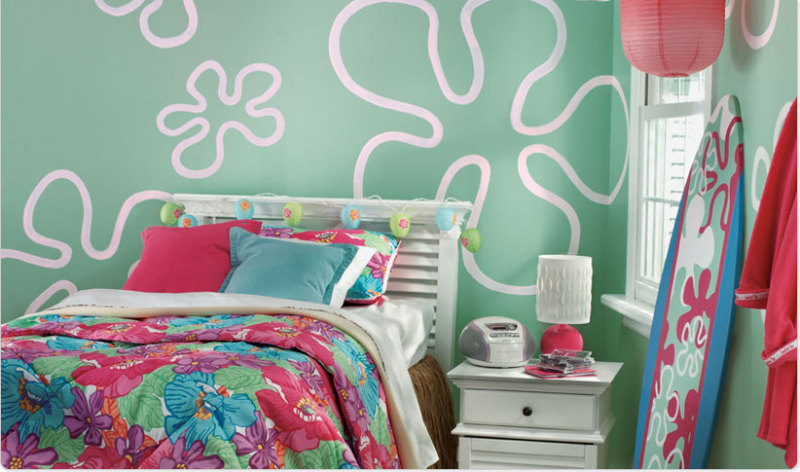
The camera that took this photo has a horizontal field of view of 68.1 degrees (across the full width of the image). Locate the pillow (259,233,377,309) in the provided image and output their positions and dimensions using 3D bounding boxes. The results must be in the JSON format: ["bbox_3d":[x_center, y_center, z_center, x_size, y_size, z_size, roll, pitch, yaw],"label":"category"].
[{"bbox_3d":[-0.627,0.188,3.654,0.742,0.223,0.521,-15,6,-14],"label":"pillow"}]

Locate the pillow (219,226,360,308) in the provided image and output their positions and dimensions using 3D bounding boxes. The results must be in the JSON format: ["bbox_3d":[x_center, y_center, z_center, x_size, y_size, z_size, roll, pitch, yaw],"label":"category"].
[{"bbox_3d":[-0.608,0.180,3.534,0.886,0.452,0.373,2,-8,-4],"label":"pillow"}]

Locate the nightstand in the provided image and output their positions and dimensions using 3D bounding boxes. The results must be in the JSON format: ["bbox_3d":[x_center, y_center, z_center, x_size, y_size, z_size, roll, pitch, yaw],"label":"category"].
[{"bbox_3d":[0.793,0.975,3.518,0.771,0.895,0.607,1,-3,10],"label":"nightstand"}]

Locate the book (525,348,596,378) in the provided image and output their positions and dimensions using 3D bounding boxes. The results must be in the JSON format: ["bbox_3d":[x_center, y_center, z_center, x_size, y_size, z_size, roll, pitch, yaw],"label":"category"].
[{"bbox_3d":[0.899,0.725,3.296,0.212,0.067,0.208,-1,2,-26],"label":"book"}]

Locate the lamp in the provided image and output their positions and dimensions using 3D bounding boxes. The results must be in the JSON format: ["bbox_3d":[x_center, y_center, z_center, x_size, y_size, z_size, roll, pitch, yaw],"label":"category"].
[{"bbox_3d":[0.953,0.396,3.473,0.323,0.600,0.297,-6,-11,44],"label":"lamp"}]
